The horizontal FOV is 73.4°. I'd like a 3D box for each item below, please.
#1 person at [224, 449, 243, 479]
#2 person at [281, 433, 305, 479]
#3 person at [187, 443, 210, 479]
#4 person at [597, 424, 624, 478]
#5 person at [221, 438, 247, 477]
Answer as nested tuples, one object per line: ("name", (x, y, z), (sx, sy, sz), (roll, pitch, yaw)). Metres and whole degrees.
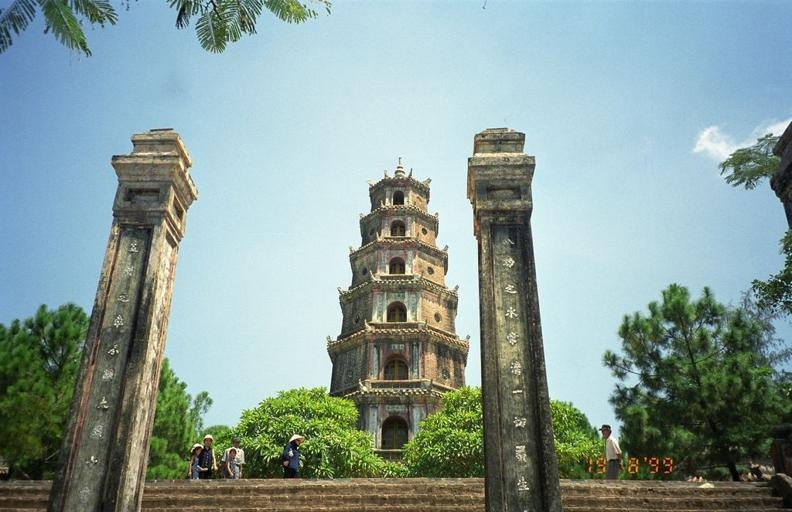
("person", (-4.268, 5.727, 14.053), (0.486, 1.227, 0.364), (0, 3, -22))
("person", (-2.516, 4.827, 12.930), (0.402, 1.100, 1.627), (5, -26, -9))
("person", (-4.826, 5.028, 13.085), (0.427, 0.811, 1.057), (13, -28, -26))
("person", (5.064, 4.624, 12.509), (0.400, 1.172, 0.940), (-8, -27, 19))
("person", (-4.334, 5.650, 14.061), (0.545, 1.296, 0.396), (4, -3, -22))
